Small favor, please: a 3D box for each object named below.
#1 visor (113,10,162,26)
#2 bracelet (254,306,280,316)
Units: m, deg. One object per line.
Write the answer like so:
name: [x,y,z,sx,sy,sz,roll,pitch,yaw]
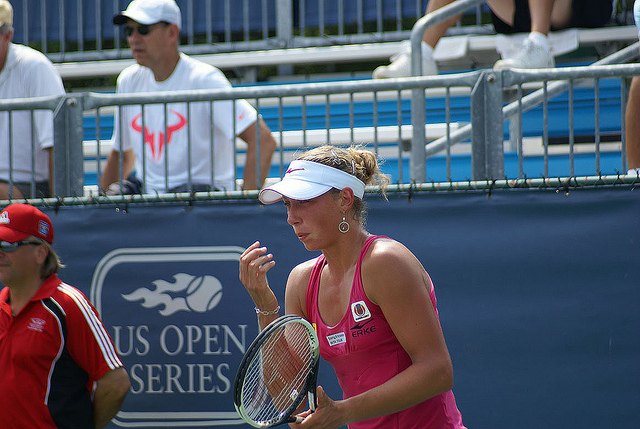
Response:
visor: [-1.840,-1.925,17.141,0.536,0.158,0.195,-5,-1,30]
bracelet: [-0.460,0.834,15.212,0.197,0.076,0.179,-4,-1,-7]
